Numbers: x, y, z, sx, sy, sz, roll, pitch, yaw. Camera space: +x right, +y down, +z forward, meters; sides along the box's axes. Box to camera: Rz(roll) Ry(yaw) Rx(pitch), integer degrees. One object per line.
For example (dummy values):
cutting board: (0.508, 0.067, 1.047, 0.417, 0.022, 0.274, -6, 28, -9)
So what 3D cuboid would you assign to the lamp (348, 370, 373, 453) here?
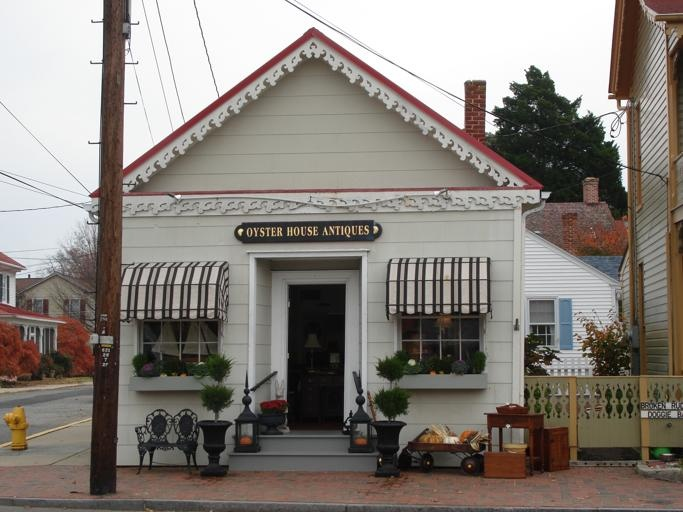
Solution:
lamp: (0.421, 3.228, 23.563, 0.551, 1.716, 1.104, 0, -10, 1)

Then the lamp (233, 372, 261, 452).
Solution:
lamp: (-2.015, 3.252, 23.733, 0.687, 1.720, 0.689, 0, -5, 16)

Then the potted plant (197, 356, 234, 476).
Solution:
potted plant: (-2.641, 3.288, 23.526, 0.675, 2.554, 0.963, 1, -10, -7)

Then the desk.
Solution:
desk: (3.496, 3.759, 23.150, 1.209, 1.214, 1.118, 0, 0, -18)

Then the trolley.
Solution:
trolley: (2.090, 3.968, 23.266, 1.465, 0.699, 0.911, -2, -2, 16)

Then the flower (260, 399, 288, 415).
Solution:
flower: (-1.467, 3.221, 24.238, 0.610, 0.336, 0.460, 3, -10, -15)

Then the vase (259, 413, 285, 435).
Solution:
vase: (-1.510, 3.578, 24.097, 0.576, 0.455, 0.432, 1, -10, -4)

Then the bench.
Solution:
bench: (-3.674, 3.856, 23.695, 1.401, 1.313, 1.228, 0, -10, 1)

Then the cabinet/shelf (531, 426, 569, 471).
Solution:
cabinet/shelf: (4.387, 3.977, 23.394, 0.603, 0.849, 0.557, 1, -5, -26)

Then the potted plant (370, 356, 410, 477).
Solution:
potted plant: (1.008, 3.170, 23.107, 0.893, 2.292, 0.808, 4, -2, -16)

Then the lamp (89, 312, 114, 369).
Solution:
lamp: (-4.594, 1.698, 21.858, 0.529, 1.301, 0.295, 2, -20, -24)

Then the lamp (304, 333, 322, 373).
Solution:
lamp: (-0.699, 2.252, 27.116, 0.387, 0.892, 0.559, 0, -10, -1)
